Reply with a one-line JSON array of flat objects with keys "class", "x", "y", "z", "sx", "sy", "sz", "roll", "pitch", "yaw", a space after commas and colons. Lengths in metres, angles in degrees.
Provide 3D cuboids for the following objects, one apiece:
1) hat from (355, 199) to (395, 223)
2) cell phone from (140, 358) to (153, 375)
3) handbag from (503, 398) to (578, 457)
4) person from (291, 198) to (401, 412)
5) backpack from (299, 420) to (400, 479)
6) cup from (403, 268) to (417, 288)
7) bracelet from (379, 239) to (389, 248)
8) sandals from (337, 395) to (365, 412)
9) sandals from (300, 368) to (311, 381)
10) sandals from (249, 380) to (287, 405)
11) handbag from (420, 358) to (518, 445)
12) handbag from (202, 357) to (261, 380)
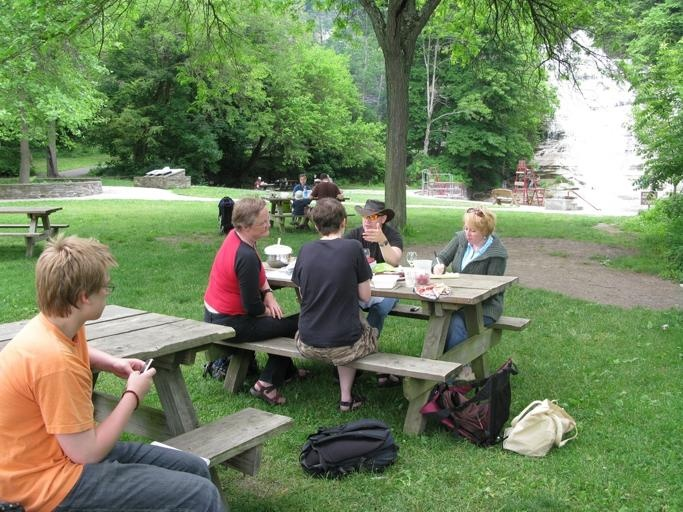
[{"class": "hat", "x": 0.380, "y": -0.508, "z": 6.464, "sx": 0.284, "sy": 0.121, "sz": 0.315, "roll": 6, "pitch": -7, "yaw": 37}, {"class": "cell phone", "x": -1.153, "y": 0.658, "z": 3.486, "sx": 0.018, "sy": 0.076, "sz": 0.075, "roll": 30, "pitch": -20, "yaw": -34}, {"class": "handbag", "x": 1.688, "y": 1.440, "z": 4.998, "sx": 0.721, "sy": 0.324, "sz": 0.381, "roll": -7, "pitch": 15, "yaw": -33}, {"class": "person", "x": -0.058, "y": 0.483, "z": 5.275, "sx": 0.782, "sy": 1.963, "sz": 0.501, "roll": 0, "pitch": 13, "yaw": -6}, {"class": "backpack", "x": 0.051, "y": 1.539, "z": 4.622, "sx": 0.578, "sy": 0.248, "sz": 0.449, "roll": -2, "pitch": 3, "yaw": -13}, {"class": "cup", "x": 0.658, "y": 0.210, "z": 5.760, "sx": 0.149, "sy": 0.202, "sz": 0.159, "roll": 0, "pitch": -5, "yaw": 0}, {"class": "bracelet", "x": 0.483, "y": -0.143, "z": 6.696, "sx": 0.100, "sy": 0.065, "sz": 0.088, "roll": 1, "pitch": -12, "yaw": -41}, {"class": "sandals", "x": 0.093, "y": 1.400, "z": 5.539, "sx": 0.093, "sy": 0.097, "sz": 0.239, "roll": 4, "pitch": 7, "yaw": 42}, {"class": "sandals", "x": -0.394, "y": 1.264, "z": 6.268, "sx": 0.056, "sy": 0.065, "sz": 0.160, "roll": 1, "pitch": -1, "yaw": 15}, {"class": "sandals", "x": -0.709, "y": 1.325, "z": 5.705, "sx": 0.345, "sy": 0.155, "sz": 0.172, "roll": 23, "pitch": 13, "yaw": 2}, {"class": "handbag", "x": 1.152, "y": 1.203, "z": 5.275, "sx": 0.733, "sy": 0.593, "sz": 0.748, "roll": 0, "pitch": 1, "yaw": 25}, {"class": "handbag", "x": -1.167, "y": 1.186, "z": 6.251, "sx": 0.429, "sy": 0.166, "sz": 0.320, "roll": -1, "pitch": 5, "yaw": -39}]
